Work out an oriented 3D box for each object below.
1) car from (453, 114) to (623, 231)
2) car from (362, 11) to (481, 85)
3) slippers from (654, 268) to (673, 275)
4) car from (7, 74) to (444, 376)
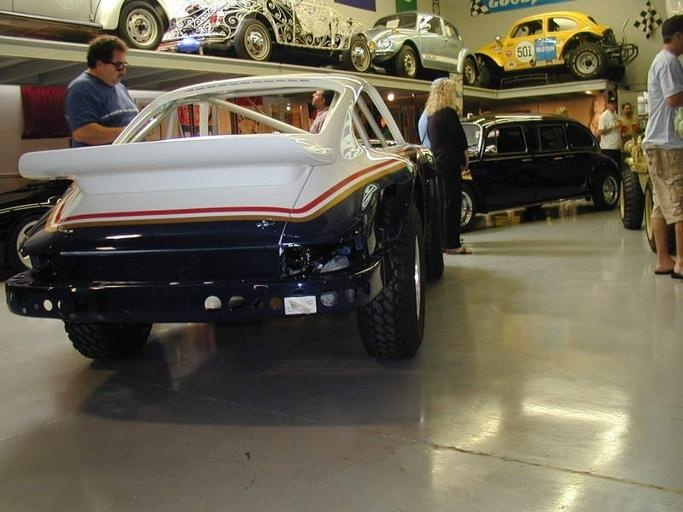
[{"bbox_3d":[3.319,-1.571,9.259,3.349,1.584,1.915,-6,6,-30],"label":"car"},{"bbox_3d":[1.866,-5.118,13.097,3.252,1.484,1.821,-4,10,-44],"label":"car"},{"bbox_3d":[2.997,0.154,4.694,0.137,0.063,0.053,-5,4,12],"label":"slippers"},{"bbox_3d":[-0.249,-0.378,3.493,1.554,1.231,2.758,0,9,15],"label":"car"}]
